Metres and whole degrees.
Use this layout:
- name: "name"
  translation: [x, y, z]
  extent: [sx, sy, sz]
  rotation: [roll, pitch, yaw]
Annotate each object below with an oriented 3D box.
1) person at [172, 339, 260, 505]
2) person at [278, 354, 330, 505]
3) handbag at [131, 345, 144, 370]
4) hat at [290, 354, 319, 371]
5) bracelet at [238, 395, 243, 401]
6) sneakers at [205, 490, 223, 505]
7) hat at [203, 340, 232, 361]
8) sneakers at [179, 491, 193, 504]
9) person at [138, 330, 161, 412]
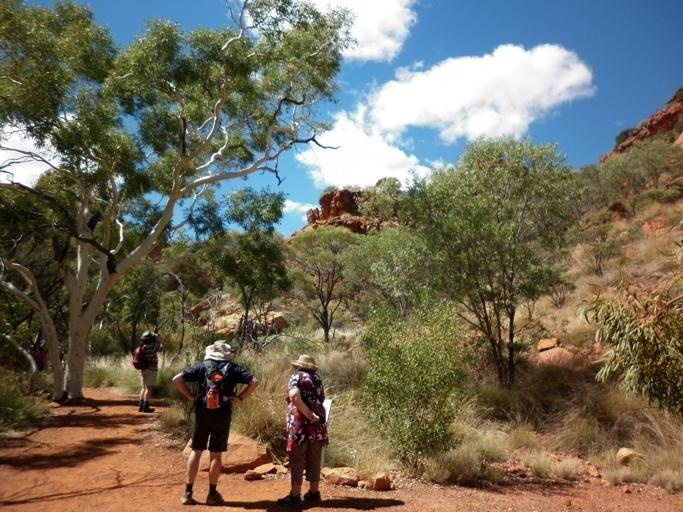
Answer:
- name: "person"
  translation: [-2.395, 3.177, 10.847]
  extent: [1.330, 2.906, 0.946]
  rotation: [-2, 13, -19]
- name: "person"
  translation: [-0.704, 3.385, 10.993]
  extent: [0.841, 2.739, 1.013]
  rotation: [2, 12, -1]
- name: "handbag"
  translation: [-5.202, 2.689, 14.909]
  extent: [0.290, 0.750, 0.413]
  rotation: [-6, 15, -33]
- name: "hat"
  translation: [-0.718, 2.088, 11.159]
  extent: [0.393, 0.189, 0.404]
  rotation: [17, -18, -7]
- name: "bracelet"
  translation: [-1.880, 2.665, 10.768]
  extent: [0.061, 0.068, 0.019]
  rotation: [-12, -51, 25]
- name: "sneakers"
  translation: [-2.339, 4.484, 10.697]
  extent: [0.148, 0.198, 0.393]
  rotation: [0, -14, 13]
- name: "hat"
  translation: [-2.310, 1.838, 11.014]
  extent: [0.376, 0.383, 0.403]
  rotation: [6, -1, 9]
- name: "sneakers"
  translation: [-2.840, 4.478, 10.713]
  extent: [0.216, 0.195, 0.198]
  rotation: [-3, 14, -22]
- name: "person"
  translation: [-4.964, 3.095, 15.052]
  extent: [0.536, 2.099, 1.244]
  rotation: [-2, 13, -17]
